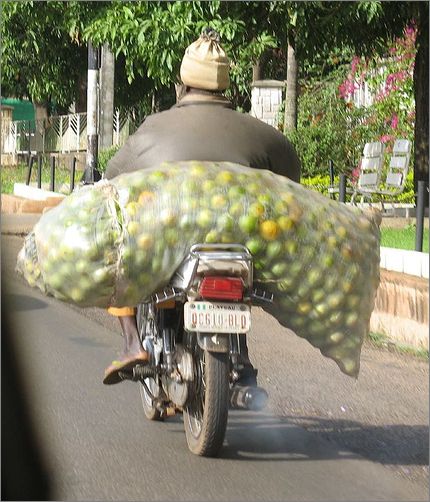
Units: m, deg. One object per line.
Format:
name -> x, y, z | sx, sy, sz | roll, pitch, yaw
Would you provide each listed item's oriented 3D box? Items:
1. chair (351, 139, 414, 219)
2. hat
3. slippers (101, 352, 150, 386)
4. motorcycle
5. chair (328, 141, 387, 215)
chair -> 3.006, -0.960, 12.829 | 0.997, 2.017, 1.269 | -2, 14, -13
hat -> -0.068, -0.972, 3.616 | 0.199, 0.343, 0.292 | 1, 8, -20
slippers -> -0.406, 0.540, 3.156 | 0.112, 0.129, 0.294 | 29, -27, -20
motorcycle -> -0.136, 0.388, 3.026 | 0.444, 0.782, 0.973 | 2, 0, -10
chair -> 2.811, -1.512, 13.099 | 1.034, 2.083, 1.237 | -1, 5, -15
